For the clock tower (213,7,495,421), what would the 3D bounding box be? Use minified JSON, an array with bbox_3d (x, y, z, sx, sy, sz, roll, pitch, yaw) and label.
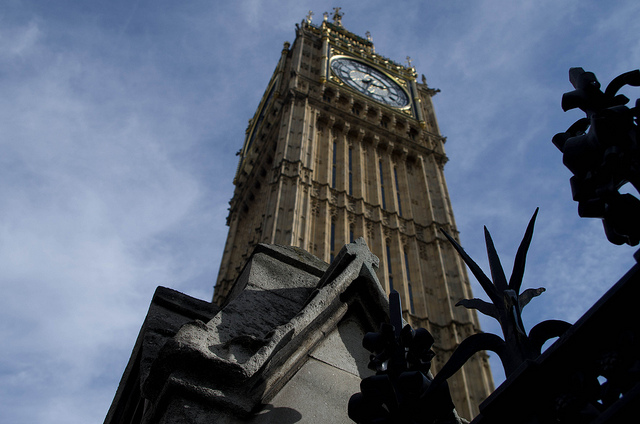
[{"bbox_3d":[2.417,-5.411,32.919,13.474,30.986,9.644,1,-35,17],"label":"clock tower"}]
